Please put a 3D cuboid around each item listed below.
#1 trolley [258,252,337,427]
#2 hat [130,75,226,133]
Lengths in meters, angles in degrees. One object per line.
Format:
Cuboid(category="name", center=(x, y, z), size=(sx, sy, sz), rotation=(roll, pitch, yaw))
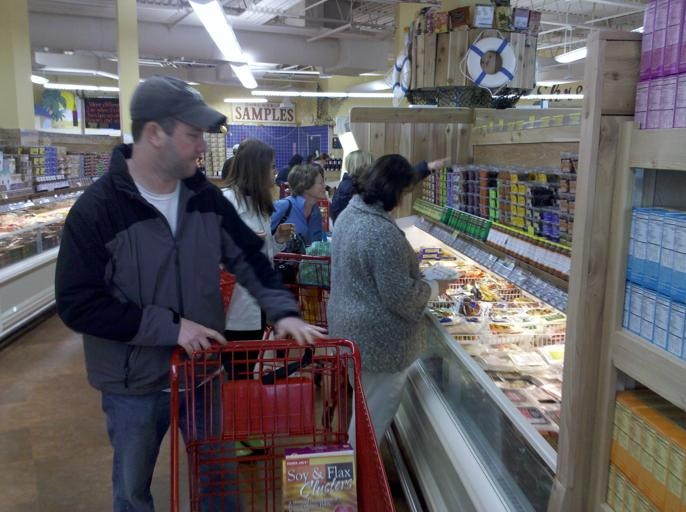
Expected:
Cuboid(category="trolley", center=(-0.334, 0.773, 3.547), size=(0.487, 0.917, 0.913), rotation=(-11, 40, -5))
Cuboid(category="hat", center=(-0.603, -0.575, 1.817), size=(0.336, 0.195, 0.233), rotation=(-5, 19, -8))
